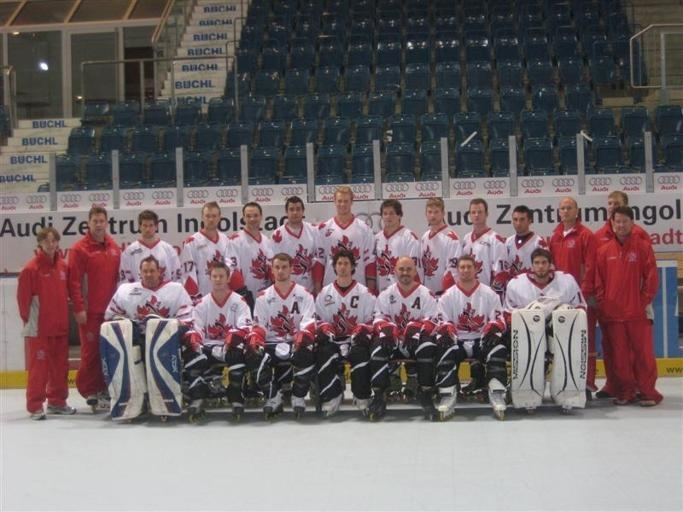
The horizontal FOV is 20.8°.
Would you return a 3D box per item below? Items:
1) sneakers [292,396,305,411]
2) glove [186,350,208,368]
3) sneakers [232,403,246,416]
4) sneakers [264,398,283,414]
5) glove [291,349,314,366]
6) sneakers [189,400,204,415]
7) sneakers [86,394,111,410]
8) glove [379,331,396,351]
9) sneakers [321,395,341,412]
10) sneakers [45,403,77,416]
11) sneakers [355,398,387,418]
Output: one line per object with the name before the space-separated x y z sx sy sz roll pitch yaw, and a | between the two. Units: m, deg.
sneakers | -0.701 2.329 29.668 0.230 0.246 0.192 -3 -2 14
glove | -2.303 1.640 29.742 0.354 0.197 0.151 -3 26 -3
sneakers | -1.624 2.419 29.659 0.152 0.205 0.205 2 -18 -10
sneakers | -1.079 2.360 29.739 0.372 0.272 0.138 -1 -3 -37
glove | -0.589 1.609 29.724 0.348 0.355 0.081 -3 -2 0
sneakers | -2.327 2.409 29.774 0.186 0.240 0.260 3 -12 -6
sneakers | -3.978 2.358 30.486 0.291 0.217 0.289 2 0 -15
glove | 0.786 1.332 29.723 0.234 0.306 0.291 -4 -3 26
sneakers | -0.156 2.354 29.760 0.229 0.220 0.285 0 -9 -1
sneakers | -4.586 2.485 30.489 0.531 0.213 0.176 2 -2 -11
sneakers | 0.484 2.379 29.607 0.259 0.225 0.453 13 -7 -14
